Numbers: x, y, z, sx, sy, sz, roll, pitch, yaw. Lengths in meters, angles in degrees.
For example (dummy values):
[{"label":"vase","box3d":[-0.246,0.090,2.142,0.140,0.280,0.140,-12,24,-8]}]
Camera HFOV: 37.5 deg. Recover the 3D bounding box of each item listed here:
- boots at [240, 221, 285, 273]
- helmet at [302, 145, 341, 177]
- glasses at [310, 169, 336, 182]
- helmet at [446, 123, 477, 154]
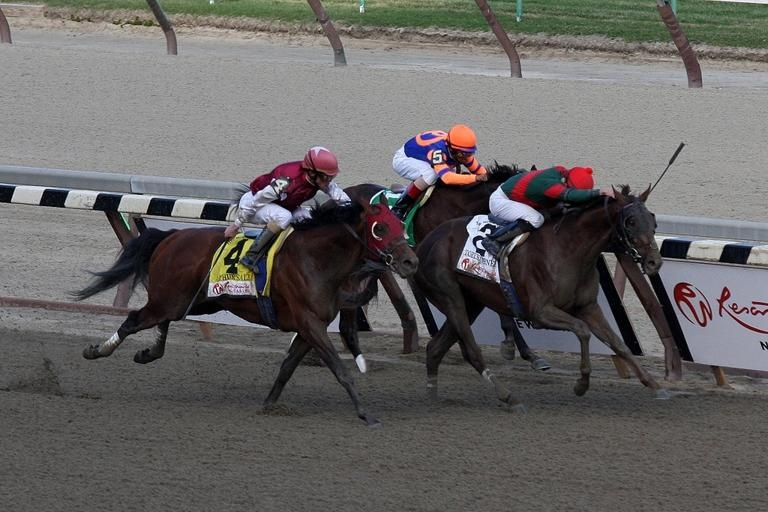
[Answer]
[{"label":"boots","box3d":[-1.067,-0.088,9.655,0.332,0.388,0.161,-25,35,-38]},{"label":"helmet","box3d":[-0.552,-0.797,9.678,0.363,0.170,0.219,24,41,6]},{"label":"glasses","box3d":[-0.549,-0.675,9.690,0.175,0.051,0.117,19,13,20]},{"label":"helmet","box3d":[0.722,-1.113,11.082,0.267,0.291,0.228,-3,26,1]}]
